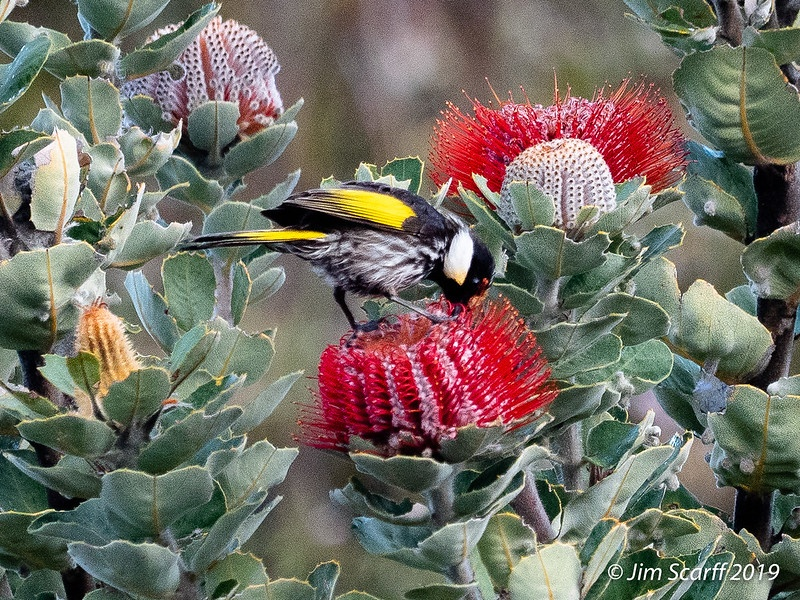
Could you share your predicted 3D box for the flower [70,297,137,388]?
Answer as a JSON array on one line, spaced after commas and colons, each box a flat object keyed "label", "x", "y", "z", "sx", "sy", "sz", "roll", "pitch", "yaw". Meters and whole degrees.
[{"label": "flower", "x": -0.568, "y": 0.085, "z": 2.907, "sx": 0.111, "sy": 0.118, "sz": 0.188, "roll": -23, "pitch": 86, "yaw": -23}]

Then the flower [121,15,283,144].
[{"label": "flower", "x": -0.389, "y": -0.512, "z": 3.441, "sx": 0.290, "sy": 0.265, "sz": 0.327, "roll": -17, "pitch": 24, "yaw": -37}]
